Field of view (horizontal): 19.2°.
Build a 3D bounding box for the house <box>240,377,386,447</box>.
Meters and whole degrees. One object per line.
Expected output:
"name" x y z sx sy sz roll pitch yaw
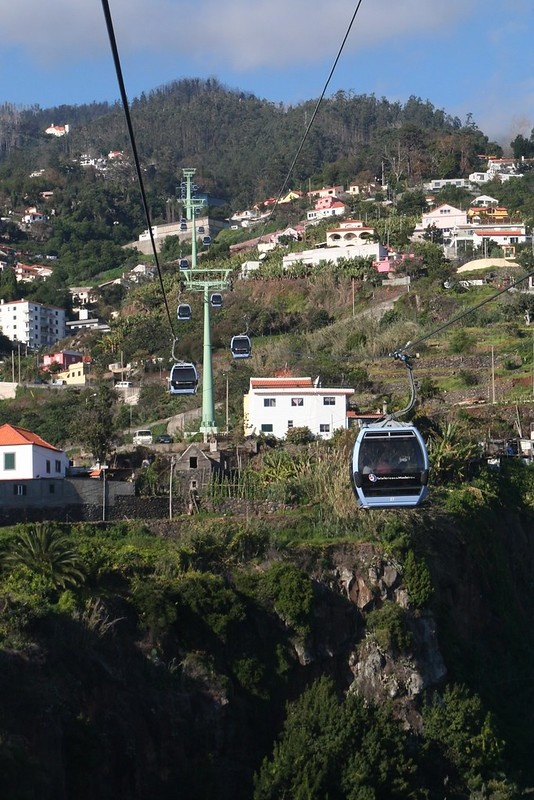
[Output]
"house" 1.449 0.296 75.514 4.743 2.935 3.465 1 -2 1
